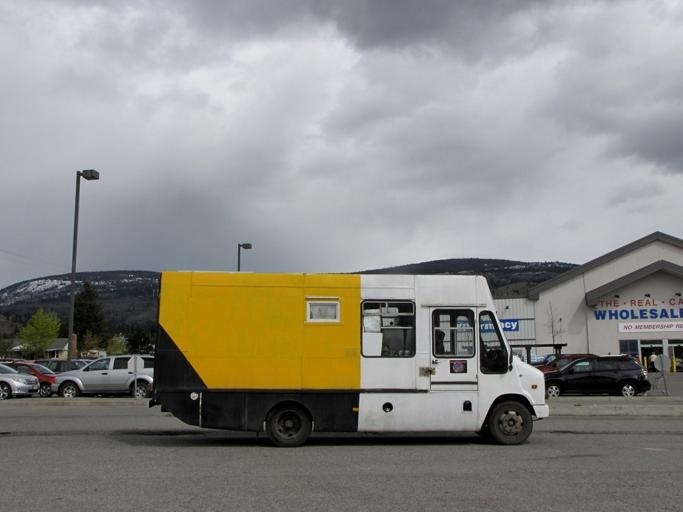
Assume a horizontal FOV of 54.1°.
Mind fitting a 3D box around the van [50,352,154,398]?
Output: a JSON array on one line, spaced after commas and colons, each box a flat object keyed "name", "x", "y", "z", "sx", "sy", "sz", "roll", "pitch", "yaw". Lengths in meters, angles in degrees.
[{"name": "van", "x": -9.957, "y": 5.116, "z": 28.427, "sx": 4.113, "sy": 1.788, "sz": 0.707, "roll": -2, "pitch": -10, "yaw": 8}]
